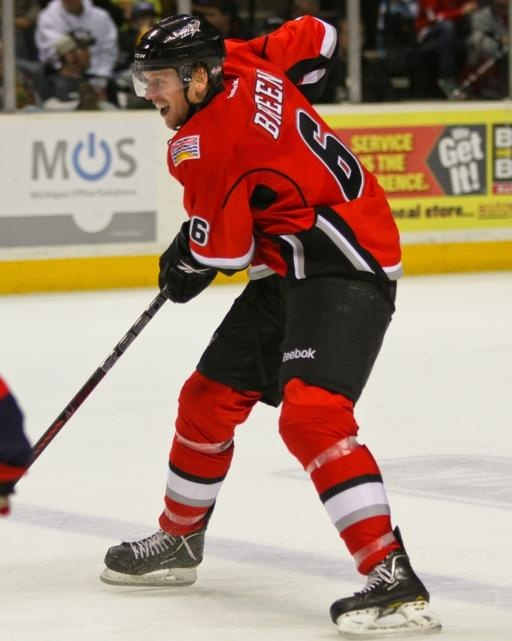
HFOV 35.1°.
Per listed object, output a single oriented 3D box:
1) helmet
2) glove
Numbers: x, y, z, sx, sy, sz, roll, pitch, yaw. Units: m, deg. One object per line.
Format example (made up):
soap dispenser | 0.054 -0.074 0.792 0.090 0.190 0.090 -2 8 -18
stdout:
helmet | -0.142 -0.486 1.493 0.167 0.151 0.118 -3 14 -4
glove | -0.150 -0.104 1.644 0.078 0.176 0.122 27 42 -9
